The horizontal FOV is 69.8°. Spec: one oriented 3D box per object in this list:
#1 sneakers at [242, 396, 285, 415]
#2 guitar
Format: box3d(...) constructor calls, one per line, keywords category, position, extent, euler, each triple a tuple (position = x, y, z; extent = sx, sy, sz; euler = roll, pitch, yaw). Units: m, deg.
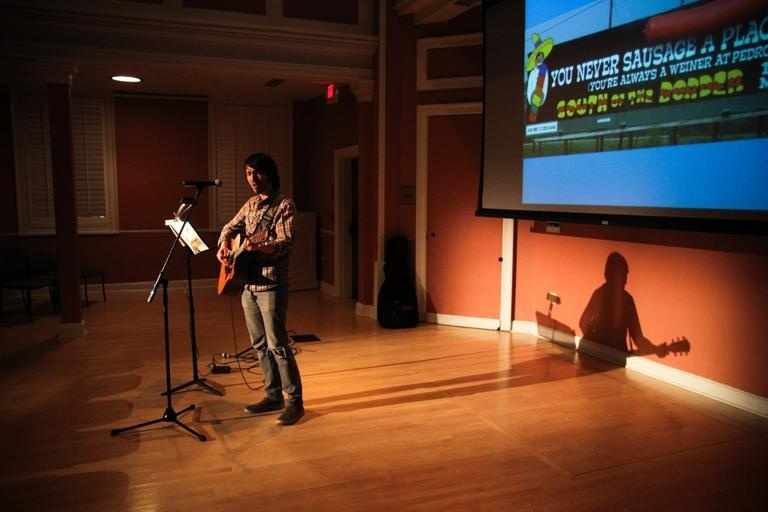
box3d(category="sneakers", position=(-1.109, 1.347, 4.997), extent=(0.352, 0.136, 0.140), euler=(2, -4, -18))
box3d(category="guitar", position=(-1.230, 0.061, 4.791), extent=(0.307, 0.559, 0.588), euler=(-11, 12, -41))
